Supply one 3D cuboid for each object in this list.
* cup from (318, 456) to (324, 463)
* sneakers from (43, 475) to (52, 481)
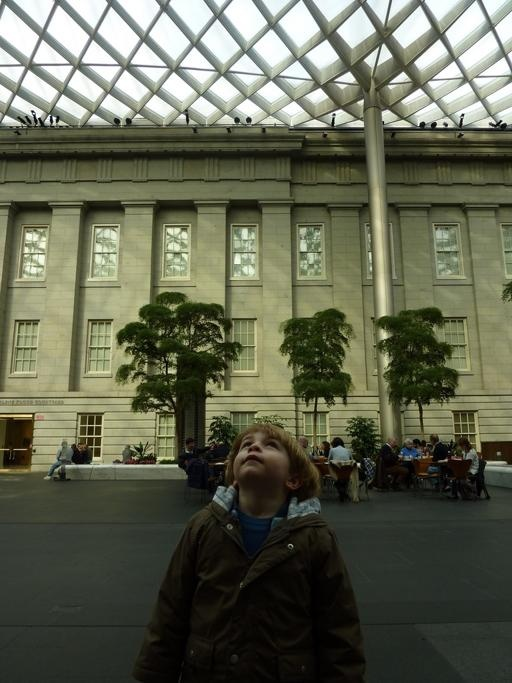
[{"bbox_3d":[1.803,3.264,15.140,0.264,0.187,0.227,-2,-9,12],"label":"cup"},{"bbox_3d":[-7.158,4.693,18.816,0.435,0.170,0.148,6,-17,-7],"label":"sneakers"}]
